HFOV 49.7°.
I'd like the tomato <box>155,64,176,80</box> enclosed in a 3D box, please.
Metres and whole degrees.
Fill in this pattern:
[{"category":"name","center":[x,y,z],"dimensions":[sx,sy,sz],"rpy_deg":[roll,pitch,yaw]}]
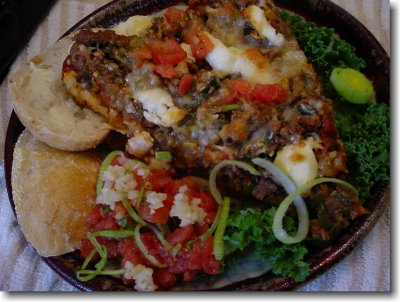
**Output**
[{"category":"tomato","center":[-0.306,-0.727,3.904],"dimensions":[0.185,0.059,0.127],"rpy_deg":[1,69,-8]}]

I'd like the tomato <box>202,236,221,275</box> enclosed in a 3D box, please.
[{"category":"tomato","center":[0.097,0.965,3.925],"dimensions":[0.186,0.060,0.255],"rpy_deg":[-14,83,16]}]

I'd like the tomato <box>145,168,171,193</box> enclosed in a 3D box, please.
[{"category":"tomato","center":[-0.403,0.288,4.112],"dimensions":[0.083,0.242,0.268],"rpy_deg":[-23,74,-14]}]

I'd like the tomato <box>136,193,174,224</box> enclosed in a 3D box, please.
[{"category":"tomato","center":[-0.382,0.544,3.956],"dimensions":[0.362,0.117,0.251],"rpy_deg":[-15,72,-14]}]

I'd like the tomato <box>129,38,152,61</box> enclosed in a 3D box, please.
[{"category":"tomato","center":[-0.525,-0.950,3.934],"dimensions":[0.134,0.058,0.224],"rpy_deg":[-40,91,-16]}]

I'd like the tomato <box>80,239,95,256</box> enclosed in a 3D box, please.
[{"category":"tomato","center":[-1.029,0.887,3.985],"dimensions":[0.140,0.138,0.153],"rpy_deg":[7,68,-5]}]

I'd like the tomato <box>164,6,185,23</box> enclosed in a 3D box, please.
[{"category":"tomato","center":[-0.254,-1.346,4.239],"dimensions":[0.183,0.074,0.155],"rpy_deg":[10,79,21]}]

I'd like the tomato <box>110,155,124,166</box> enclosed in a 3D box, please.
[{"category":"tomato","center":[-0.776,0.084,4.121],"dimensions":[0.126,0.058,0.118],"rpy_deg":[8,68,-5]}]

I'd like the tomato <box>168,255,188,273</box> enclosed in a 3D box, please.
[{"category":"tomato","center":[-0.191,1.014,3.876],"dimensions":[0.169,0.104,0.145],"rpy_deg":[0,69,-8]}]

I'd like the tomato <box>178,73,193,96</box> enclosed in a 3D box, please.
[{"category":"tomato","center":[-0.132,-0.607,3.897],"dimensions":[0.057,0.122,0.196],"rpy_deg":[29,93,52]}]

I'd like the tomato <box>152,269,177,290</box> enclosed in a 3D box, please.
[{"category":"tomato","center":[-0.324,1.159,3.847],"dimensions":[0.175,0.067,0.190],"rpy_deg":[12,91,2]}]

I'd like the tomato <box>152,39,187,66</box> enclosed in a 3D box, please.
[{"category":"tomato","center":[-0.279,-0.895,3.915],"dimensions":[0.247,0.094,0.254],"rpy_deg":[10,63,1]}]

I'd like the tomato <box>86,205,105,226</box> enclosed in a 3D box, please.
[{"category":"tomato","center":[-0.966,0.608,4.076],"dimensions":[0.134,0.064,0.186],"rpy_deg":[21,94,7]}]
